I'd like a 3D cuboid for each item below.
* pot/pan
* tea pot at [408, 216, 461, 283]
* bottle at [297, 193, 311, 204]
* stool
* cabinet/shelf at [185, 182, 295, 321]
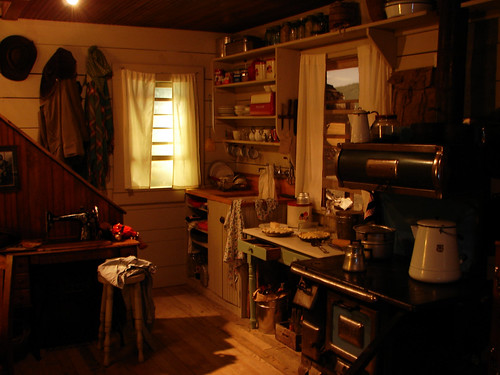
[{"bbox_3d":[0.963,0.448,3.256,0.255,0.221,0.270,1,-2,-5],"label":"pot/pan"},{"bbox_3d":[1.270,0.430,2.931,0.332,0.395,0.195,3,9,19],"label":"tea pot"},{"bbox_3d":[0.561,0.107,4.501,0.114,0.098,0.118,5,5,23],"label":"bottle"},{"bbox_3d":[-1.214,1.099,4.044,0.415,0.939,0.477,-3,9,-21],"label":"stool"},{"bbox_3d":[-0.107,0.685,5.638,1.131,1.801,2.029,-1,8,-30],"label":"cabinet/shelf"}]
